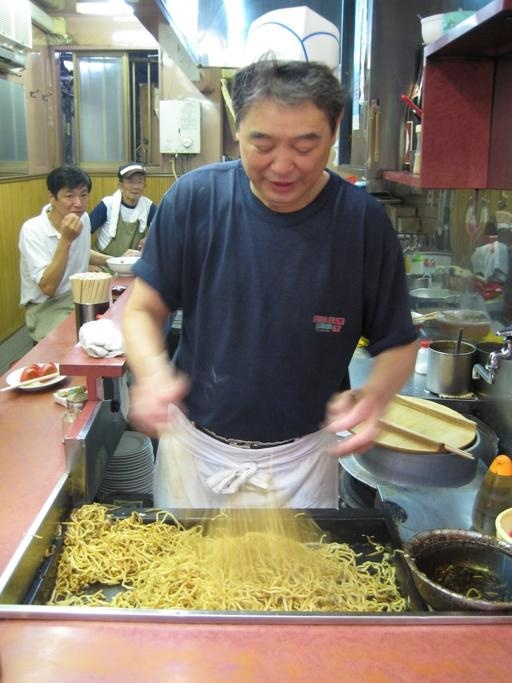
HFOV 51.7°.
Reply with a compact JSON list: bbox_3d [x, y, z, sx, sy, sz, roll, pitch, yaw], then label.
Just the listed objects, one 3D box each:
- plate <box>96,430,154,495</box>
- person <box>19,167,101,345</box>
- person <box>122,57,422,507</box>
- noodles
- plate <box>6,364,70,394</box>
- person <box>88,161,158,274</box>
[{"bbox_3d":[-0.533,0.496,2.215,0.226,0.141,0.228,0,5,-17],"label":"plate"},{"bbox_3d":[-1.398,-0.432,3.988,0.686,1.874,0.664,2,18,-23],"label":"person"},{"bbox_3d":[0.015,-0.088,1.324,0.441,0.919,0.935,3,16,-5],"label":"person"},{"bbox_3d":[-0.088,0.471,1.131,0.785,0.122,0.324,1,4,10],"label":"noodles"},{"bbox_3d":[-0.912,0.162,2.215,0.199,0.087,0.218,-2,16,-22],"label":"plate"},{"bbox_3d":[-1.444,-1.297,5.561,0.622,1.328,0.613,6,15,4],"label":"person"}]
